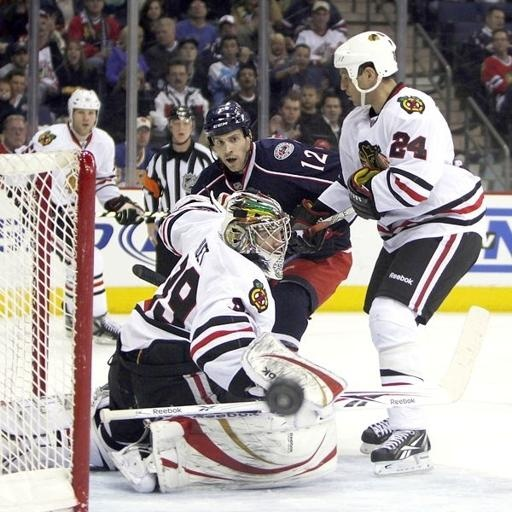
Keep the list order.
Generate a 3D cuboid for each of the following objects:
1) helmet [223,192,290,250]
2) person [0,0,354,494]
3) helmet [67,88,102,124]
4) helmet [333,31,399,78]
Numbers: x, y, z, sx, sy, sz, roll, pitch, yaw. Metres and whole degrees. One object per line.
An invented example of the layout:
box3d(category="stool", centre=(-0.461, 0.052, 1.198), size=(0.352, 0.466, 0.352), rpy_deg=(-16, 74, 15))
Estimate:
box3d(category="helmet", centre=(-0.005, -0.103, 2.849), size=(0.219, 0.160, 0.153), rpy_deg=(13, 19, 10))
box3d(category="person", centre=(-0.174, 0.176, 3.243), size=(1.110, 1.264, 0.983), rpy_deg=(-5, 14, -10))
box3d(category="helmet", centre=(-1.053, -0.947, 5.690), size=(0.193, 0.205, 0.227), rpy_deg=(1, 12, -18))
box3d(category="helmet", centre=(0.420, -0.773, 3.490), size=(0.239, 0.157, 0.177), rpy_deg=(4, 13, 9))
